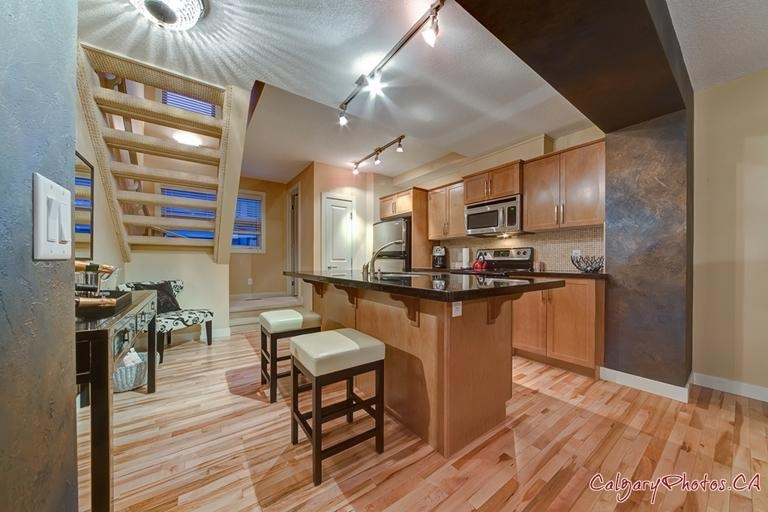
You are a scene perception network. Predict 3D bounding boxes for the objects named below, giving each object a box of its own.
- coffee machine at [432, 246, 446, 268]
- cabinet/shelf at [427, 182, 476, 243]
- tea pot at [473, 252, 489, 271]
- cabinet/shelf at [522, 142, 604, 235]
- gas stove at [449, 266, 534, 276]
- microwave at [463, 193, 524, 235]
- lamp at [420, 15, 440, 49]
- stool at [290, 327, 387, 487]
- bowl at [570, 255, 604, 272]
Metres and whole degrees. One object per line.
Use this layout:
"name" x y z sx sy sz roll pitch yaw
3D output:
"coffee machine" 0.781 0.032 7.010 0.253 0.238 0.213 -1 0 27
"cabinet/shelf" 0.952 -0.592 6.636 0.398 0.843 0.922 2 -2 -28
"tea pot" 1.238 0.081 6.150 0.213 0.288 0.218 -1 0 0
"cabinet/shelf" 1.991 -0.709 5.259 0.448 1.024 1.114 1 -2 -39
"gas stove" 1.218 0.195 5.808 0.612 0.056 1.305 -1 0 -11
"microwave" 1.348 -0.479 5.881 0.385 0.398 0.772 1 -2 -26
"lamp" 0.406 -1.897 4.108 0.132 0.213 0.387 -1 0 7
"stool" -0.405 1.186 3.987 0.755 1.013 0.700 -2 0 -12
"bowl" 2.185 0.094 5.101 0.210 0.126 0.206 1 0 0
